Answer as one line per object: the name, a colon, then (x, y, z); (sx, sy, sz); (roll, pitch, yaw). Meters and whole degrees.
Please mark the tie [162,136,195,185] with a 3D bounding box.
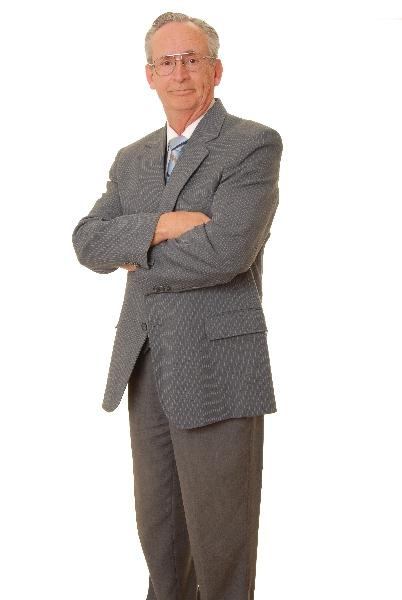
tie: (-0.069, -0.465, 1.932); (0.035, 0.153, 0.092); (18, -11, -40)
